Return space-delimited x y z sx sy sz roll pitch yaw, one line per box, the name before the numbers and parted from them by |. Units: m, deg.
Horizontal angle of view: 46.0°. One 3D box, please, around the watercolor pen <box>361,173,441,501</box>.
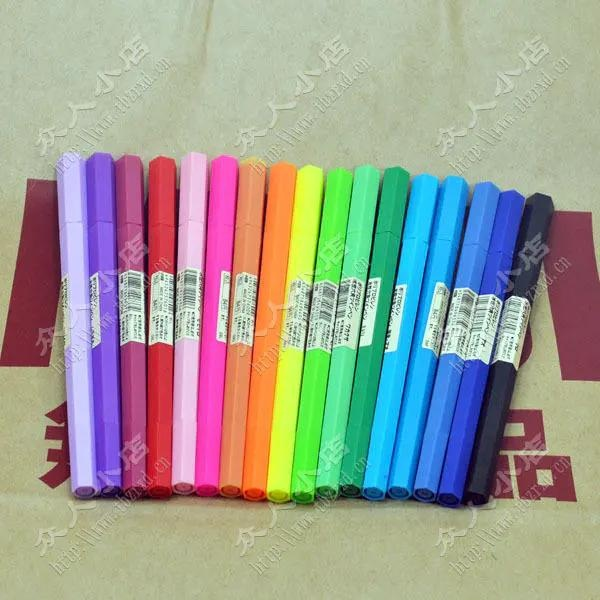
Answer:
watercolor pen | 0.322 0.087 1.972 0.109 0.858 0.093 3 -5 16
